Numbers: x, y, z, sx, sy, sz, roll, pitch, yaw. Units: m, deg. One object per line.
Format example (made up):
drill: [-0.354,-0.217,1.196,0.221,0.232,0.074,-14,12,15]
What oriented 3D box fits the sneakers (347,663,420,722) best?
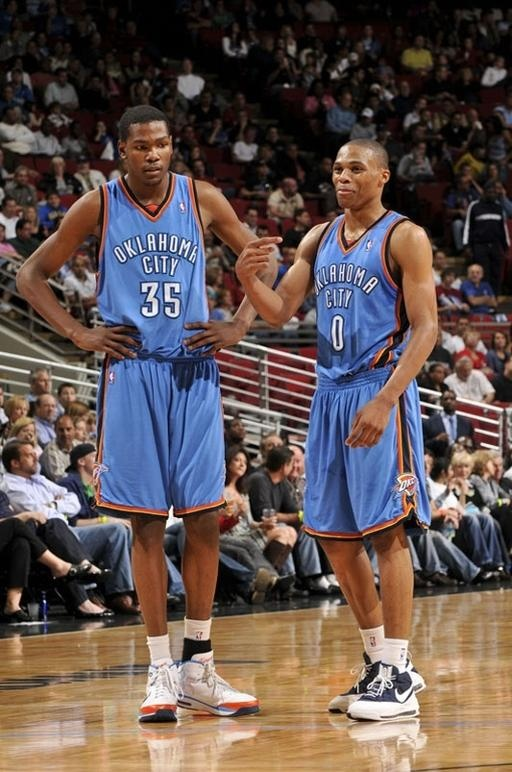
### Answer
sneakers: [0.365,0.850,2.082,0.090,0.107,0.250,-9,-16,38]

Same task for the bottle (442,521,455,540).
bottle: [2.021,1.524,7.905,0.100,0.207,0.230,-4,-5,25]

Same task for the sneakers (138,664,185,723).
sneakers: [-0.266,0.836,2.050,0.100,0.140,0.138,-1,-5,-9]

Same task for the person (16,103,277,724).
person: [-0.286,0.071,2.221,0.758,1.798,0.370,-1,-5,-16]
